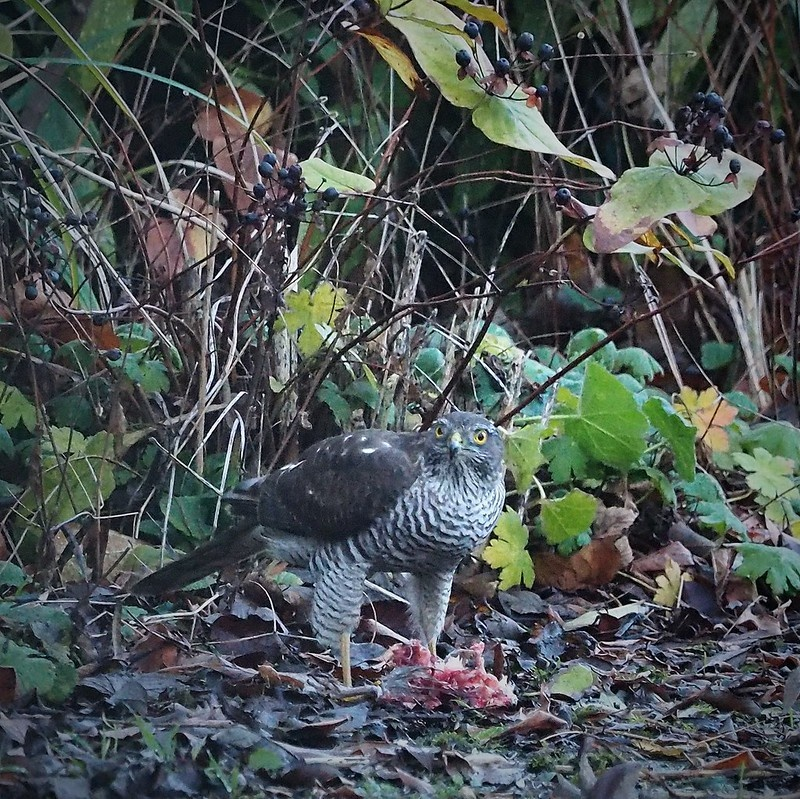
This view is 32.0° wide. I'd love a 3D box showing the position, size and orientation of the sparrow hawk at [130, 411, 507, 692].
[{"bbox_3d":[-0.225,0.397,4.243,1.155,0.898,0.461,8,9,41],"label":"sparrow hawk"}]
